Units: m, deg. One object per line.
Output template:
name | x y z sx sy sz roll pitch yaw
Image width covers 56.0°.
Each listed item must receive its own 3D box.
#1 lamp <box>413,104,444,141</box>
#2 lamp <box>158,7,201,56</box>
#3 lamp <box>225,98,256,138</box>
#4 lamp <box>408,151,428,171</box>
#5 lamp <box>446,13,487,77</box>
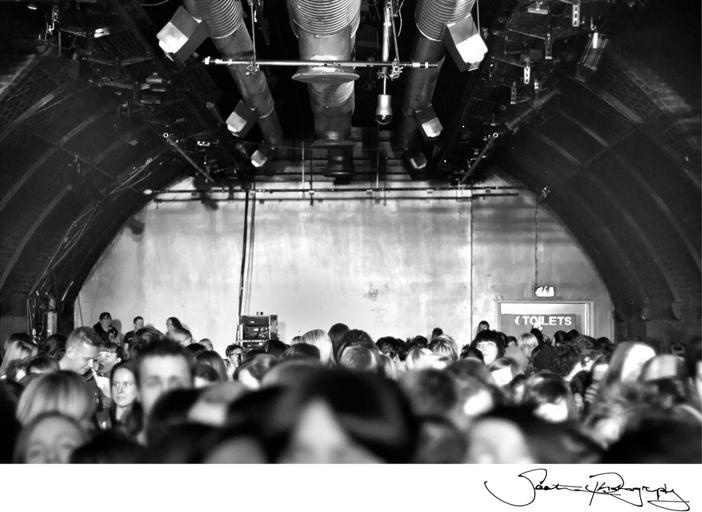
lamp | 1.315 -2.293 11.297 0.432 0.599 0.459 0 7 6
lamp | -2.061 -2.705 7.946 0.515 0.586 0.313 -2 7 -15
lamp | -1.823 -2.312 11.069 0.435 0.604 0.473 0 7 3
lamp | 1.538 -2.243 15.444 0.413 0.382 0.270 1 7 13
lamp | 1.361 -2.558 7.869 0.467 0.593 0.364 0 7 8
